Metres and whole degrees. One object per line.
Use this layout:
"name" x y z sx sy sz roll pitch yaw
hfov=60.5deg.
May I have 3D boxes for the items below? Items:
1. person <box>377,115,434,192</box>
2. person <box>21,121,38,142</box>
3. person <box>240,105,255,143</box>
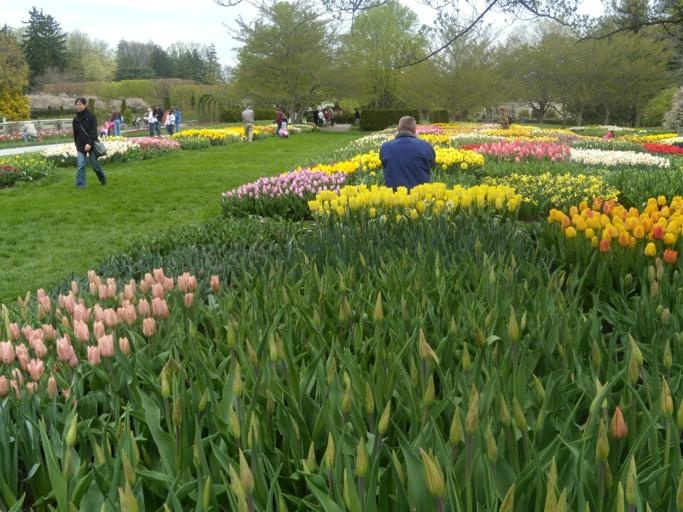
"person" 0.912 -1.425 8.382 0.651 1.448 0.722 -10 50 -7
"person" -15.685 -6.216 29.224 0.730 0.505 1.403 -5 64 -35
"person" -4.279 -5.981 26.486 0.391 1.406 2.546 -3 17 -10
